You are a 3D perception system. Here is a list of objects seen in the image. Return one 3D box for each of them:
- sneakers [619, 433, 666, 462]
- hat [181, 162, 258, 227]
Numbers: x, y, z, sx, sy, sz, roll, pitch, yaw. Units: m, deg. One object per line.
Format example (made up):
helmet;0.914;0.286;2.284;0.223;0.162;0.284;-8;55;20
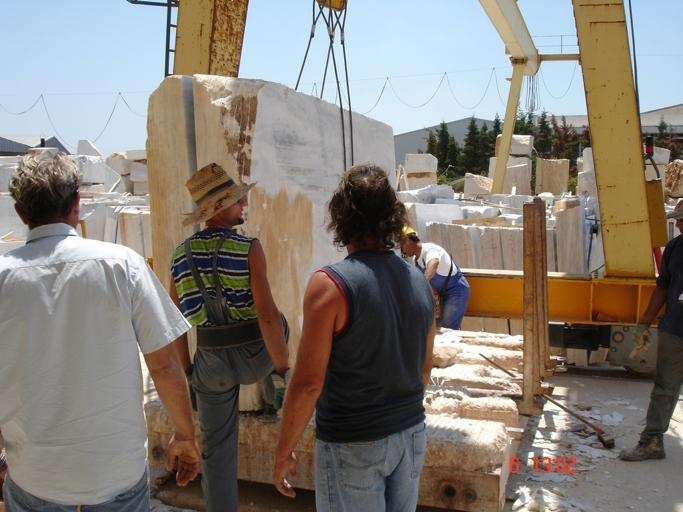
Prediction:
sneakers;2.412;1.563;6.073;0.407;0.294;0.164;2;-7;3
hat;-0.822;-0.403;4.867;0.386;0.218;0.402;-36;5;-6
